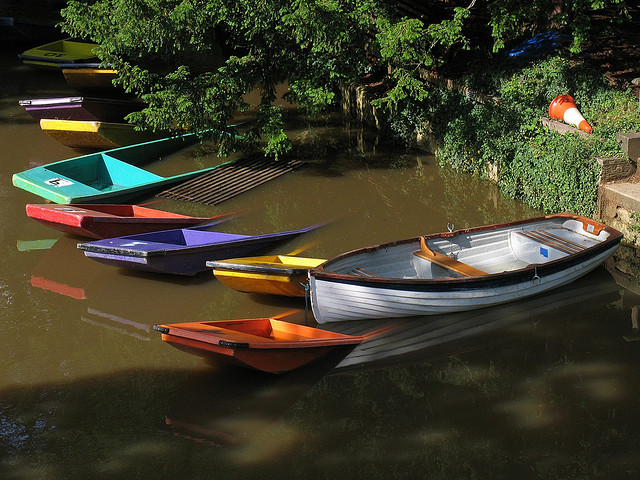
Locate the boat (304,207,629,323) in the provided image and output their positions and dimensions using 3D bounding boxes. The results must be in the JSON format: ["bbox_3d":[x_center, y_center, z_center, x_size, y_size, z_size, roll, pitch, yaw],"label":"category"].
[{"bbox_3d":[2.502,0.472,11.559,6.373,0.860,1.946,-9,24,-15],"label":"boat"}]

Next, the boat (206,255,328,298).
[{"bbox_3d":[-0.682,0.646,11.944,2.170,0.427,1.844,3,5,9],"label":"boat"}]

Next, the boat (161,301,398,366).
[{"bbox_3d":[-0.483,1.491,10.446,2.913,0.792,1.637,-14,19,-42],"label":"boat"}]
